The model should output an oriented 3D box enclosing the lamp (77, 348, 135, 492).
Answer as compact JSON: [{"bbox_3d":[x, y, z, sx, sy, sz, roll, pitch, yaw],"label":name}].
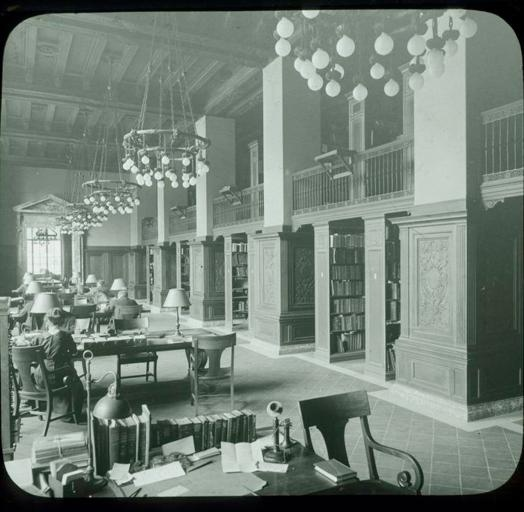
[{"bbox_3d":[-1.104,1.103,4.071,0.364,0.968,0.233,-1,1,6],"label":"lamp"}]

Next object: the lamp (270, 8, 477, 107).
[{"bbox_3d":[1.400,-2.451,7.248,2.050,0.893,2.107,-9,15,-33],"label":"lamp"}]

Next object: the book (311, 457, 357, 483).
[{"bbox_3d":[0.470,1.458,4.049,0.183,0.050,0.183,-2,6,-40],"label":"book"}]

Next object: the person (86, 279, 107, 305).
[{"bbox_3d":[-3.683,0.802,13.196,0.379,0.830,0.398,-4,14,-29],"label":"person"}]

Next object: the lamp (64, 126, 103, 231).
[{"bbox_3d":[-4.127,-1.765,14.094,0.737,2.036,0.731,16,-10,-42],"label":"lamp"}]

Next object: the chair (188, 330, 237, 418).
[{"bbox_3d":[-0.610,1.449,7.576,0.539,1.037,0.609,1,3,8],"label":"chair"}]

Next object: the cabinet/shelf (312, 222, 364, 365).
[{"bbox_3d":[1.357,0.500,9.667,0.907,2.301,0.501,-4,9,-19],"label":"cabinet/shelf"}]

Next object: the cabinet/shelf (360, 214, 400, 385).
[{"bbox_3d":[1.659,0.235,8.526,0.309,1.709,0.337,0,4,32],"label":"cabinet/shelf"}]

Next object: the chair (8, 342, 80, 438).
[{"bbox_3d":[-2.365,1.405,6.435,0.542,1.006,0.597,-2,4,13],"label":"chair"}]
